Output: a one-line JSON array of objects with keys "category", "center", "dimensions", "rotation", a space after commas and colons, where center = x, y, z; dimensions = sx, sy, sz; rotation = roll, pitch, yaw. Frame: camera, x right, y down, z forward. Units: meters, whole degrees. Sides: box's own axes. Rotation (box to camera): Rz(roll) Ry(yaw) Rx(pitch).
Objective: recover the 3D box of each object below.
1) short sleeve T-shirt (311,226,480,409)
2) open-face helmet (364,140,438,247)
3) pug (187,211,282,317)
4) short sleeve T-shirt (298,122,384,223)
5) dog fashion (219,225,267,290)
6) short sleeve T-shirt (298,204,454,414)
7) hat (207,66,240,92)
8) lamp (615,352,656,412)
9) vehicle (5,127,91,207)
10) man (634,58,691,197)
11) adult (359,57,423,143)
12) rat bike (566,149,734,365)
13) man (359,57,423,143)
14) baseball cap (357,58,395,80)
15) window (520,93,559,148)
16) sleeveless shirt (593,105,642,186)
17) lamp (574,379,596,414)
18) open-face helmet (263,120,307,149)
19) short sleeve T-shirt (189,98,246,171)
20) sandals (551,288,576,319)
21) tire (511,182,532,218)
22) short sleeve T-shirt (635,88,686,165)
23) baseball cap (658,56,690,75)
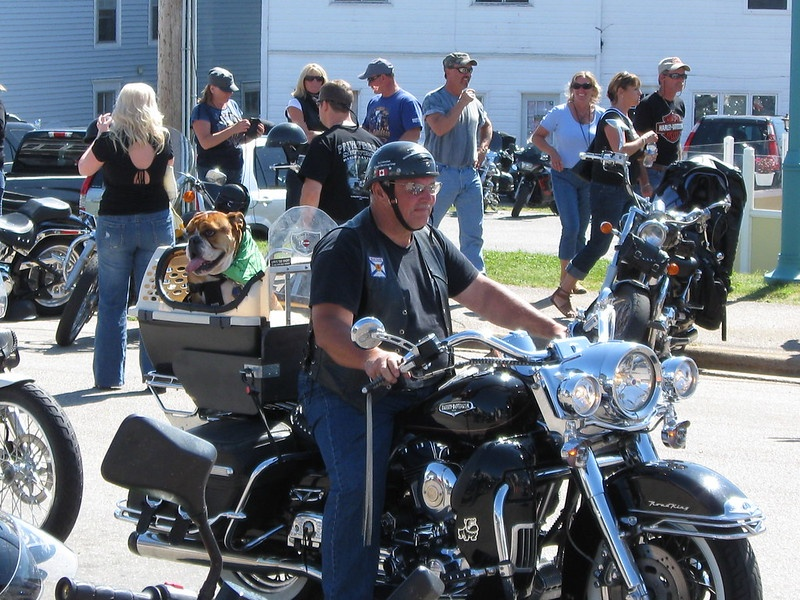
[{"category": "short sleeve T-shirt", "center": [-0.003, 0.034, 4.717], "dimensions": [0.907, 0.917, 0.550], "rotation": [-5, 4, -35]}, {"category": "open-face helmet", "center": [-0.005, -0.542, 4.594], "dimensions": [0.370, 0.506, 0.338], "rotation": [-1, 2, 31]}, {"category": "pug", "center": [-1.218, -0.340, 6.378], "dimensions": [0.532, 0.753, 0.751], "rotation": [-10, -7, 20]}, {"category": "short sleeve T-shirt", "center": [-0.395, -1.065, 7.796], "dimensions": [0.768, 0.777, 0.368], "rotation": [-13, 20, -37]}, {"category": "dog fashion", "center": [-1.075, -0.301, 6.471], "dimensions": [0.385, 0.372, 0.258], "rotation": [-20, 14, -27]}, {"category": "short sleeve T-shirt", "center": [-0.098, -0.116, 4.788], "dimensions": [0.713, 1.094, 1.102], "rotation": [8, 10, 38]}, {"category": "hat", "center": [-2.022, -2.536, 10.845], "dimensions": [0.301, 0.269, 0.344], "rotation": [1, 8, -17]}, {"category": "lamp", "center": [0.949, 0.336, 3.854], "dimensions": [0.190, 0.235, 0.098], "rotation": [7, -7, -40]}, {"category": "vehicle", "center": [-4.820, -1.817, 12.948], "dimensions": [1.020, 1.181, 2.063], "rotation": [1, 7, 2]}, {"category": "man", "center": [3.053, -1.650, 10.955], "dimensions": [0.642, 2.217, 0.515], "rotation": [0, 4, -5]}, {"category": "adult", "center": [-0.135, -1.888, 9.366], "dimensions": [0.708, 1.026, 0.612], "rotation": [4, 14, 25]}, {"category": "rat bike", "center": [2.580, -0.506, 8.876], "dimensions": [1.264, 1.727, 2.628], "rotation": [23, 12, 14]}, {"category": "man", "center": [-0.148, -1.884, 9.363], "dimensions": [0.685, 1.023, 0.608], "rotation": [6, 17, 34]}, {"category": "baseball cap", "center": [-0.223, -2.278, 9.292], "dimensions": [0.366, 0.245, 0.284], "rotation": [2, 16, 3]}, {"category": "window", "center": [4.094, -5.146, 27.263], "dimensions": [1.346, 0.305, 2.756], "rotation": [-4, 45, 4]}, {"category": "sleeveless shirt", "center": [2.263, -1.586, 9.856], "dimensions": [0.479, 0.950, 0.908], "rotation": [-2, 16, -3]}, {"category": "lamp", "center": [0.741, 0.389, 3.778], "dimensions": [0.038, 0.133, 0.112], "rotation": [4, 20, 40]}, {"category": "open-face helmet", "center": [-0.883, -1.307, 7.436], "dimensions": [0.273, 0.175, 0.211], "rotation": [-3, 17, 0]}, {"category": "short sleeve T-shirt", "center": [-2.096, -1.968, 11.299], "dimensions": [0.425, 0.871, 0.776], "rotation": [15, 23, 34]}, {"category": "sandals", "center": [1.717, 0.050, 10.007], "dimensions": [0.141, 0.263, 0.100], "rotation": [-38, 1, -44]}, {"category": "tire", "center": [2.803, -2.277, 21.676], "dimensions": [0.226, 0.869, 0.818], "rotation": [14, 6, 17]}, {"category": "short sleeve T-shirt", "center": [3.063, -1.935, 10.988], "dimensions": [0.656, 0.899, 0.392], "rotation": [-5, 14, -25]}, {"category": "baseball cap", "center": [3.113, -2.689, 10.825], "dimensions": [0.292, 0.197, 0.327], "rotation": [6, 9, 21]}]
